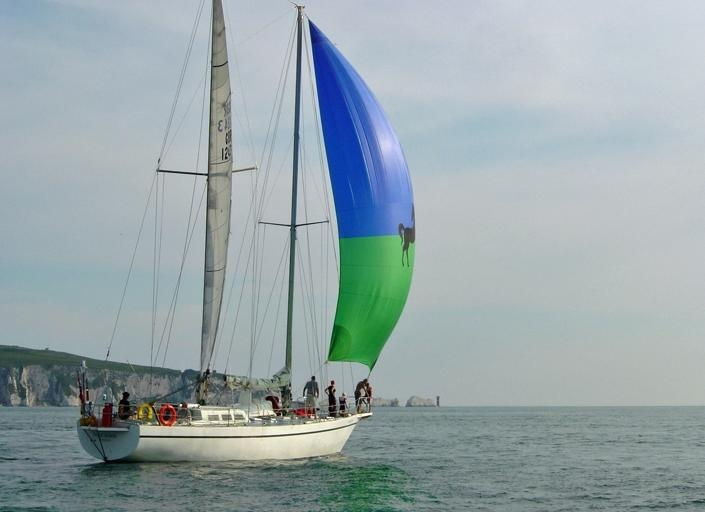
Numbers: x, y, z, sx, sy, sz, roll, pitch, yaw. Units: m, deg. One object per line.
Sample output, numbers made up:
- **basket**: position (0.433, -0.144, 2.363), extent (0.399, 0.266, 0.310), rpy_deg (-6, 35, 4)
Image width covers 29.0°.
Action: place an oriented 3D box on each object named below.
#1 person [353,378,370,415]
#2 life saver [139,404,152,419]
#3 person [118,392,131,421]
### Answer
- **person**: position (0.576, 8.009, 77.271), extent (1.081, 1.960, 0.744), rpy_deg (0, 4, -14)
- **life saver**: position (-10.925, 8.298, 71.993), extent (0.720, 1.023, 0.335), rpy_deg (0, -1, 10)
- **person**: position (-12.152, 8.064, 72.733), extent (0.658, 1.422, 1.433), rpy_deg (2, -5, -10)
